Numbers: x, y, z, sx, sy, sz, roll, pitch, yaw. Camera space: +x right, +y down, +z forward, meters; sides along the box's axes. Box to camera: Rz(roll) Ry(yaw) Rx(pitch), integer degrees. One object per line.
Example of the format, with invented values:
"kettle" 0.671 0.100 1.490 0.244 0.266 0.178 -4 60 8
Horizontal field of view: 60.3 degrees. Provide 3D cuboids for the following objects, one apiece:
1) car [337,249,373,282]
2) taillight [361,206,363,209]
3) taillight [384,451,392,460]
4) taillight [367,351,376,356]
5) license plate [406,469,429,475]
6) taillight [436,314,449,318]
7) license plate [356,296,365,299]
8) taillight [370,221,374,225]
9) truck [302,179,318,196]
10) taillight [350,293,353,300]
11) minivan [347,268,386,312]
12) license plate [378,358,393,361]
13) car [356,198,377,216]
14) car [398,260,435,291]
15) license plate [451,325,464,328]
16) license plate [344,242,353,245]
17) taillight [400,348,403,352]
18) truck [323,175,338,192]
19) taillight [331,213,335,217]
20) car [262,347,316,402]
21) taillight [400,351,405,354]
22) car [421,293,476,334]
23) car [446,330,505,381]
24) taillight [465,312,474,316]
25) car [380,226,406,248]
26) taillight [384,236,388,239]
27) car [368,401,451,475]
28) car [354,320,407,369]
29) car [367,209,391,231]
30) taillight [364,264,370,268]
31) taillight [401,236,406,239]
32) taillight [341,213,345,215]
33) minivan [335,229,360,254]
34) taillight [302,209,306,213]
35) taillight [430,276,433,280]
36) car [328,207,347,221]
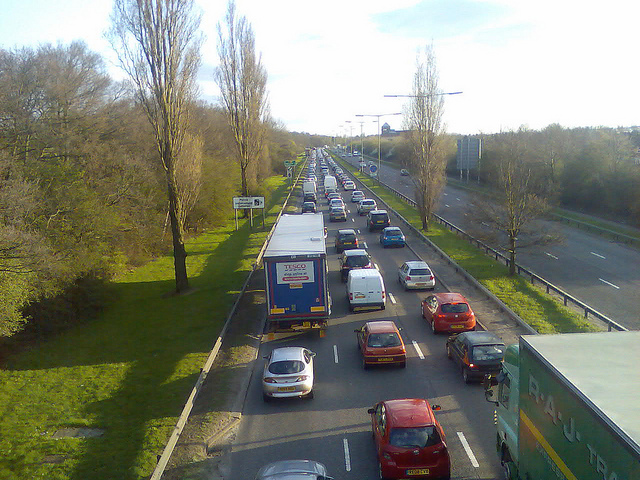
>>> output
"car" 2.370 1.424 36.917 2.205 1.948 3.977 -3 16 2
"taillight" 4.580 -3.547 60.068 0.243 0.300 0.276 3 23 8
"taillight" 2.062 6.574 16.754 0.133 0.200 0.082 3 52 26
"taillight" 2.191 4.770 23.236 0.191 0.074 0.192 -4 7 -31
"license plate" 2.954 6.994 16.618 0.684 0.151 0.049 -2 13 1
"taillight" 5.852 3.629 26.314 0.562 0.155 0.063 3 14 21
"license plate" 2.162 3.046 29.376 0.435 0.100 0.072 -4 14 -4
"taillight" 4.805 -1.609 50.596 0.357 0.246 0.122 7 16 34
"truck" -1.601 -7.700 81.602 1.707 1.794 3.063 0 18 3
"taillight" 1.669 3.029 29.570 0.209 0.424 0.409 0 4 -1
"minivan" 2.748 2.515 31.368 2.065 2.112 4.008 -3 11 5
"license plate" 2.756 5.038 23.223 0.533 0.139 0.076 -2 37 6
"car" 5.115 -3.436 60.765 1.270 1.058 2.215 -1 18 0
"car" 5.812 2.115 33.608 1.218 1.085 2.154 -1 13 1
"license plate" 6.575 4.112 26.253 0.587 0.136 0.022 -1 13 5
"license plate" 2.165 0.258 42.049 0.580 0.143 0.124 -5 14 -8
"taillight" 3.455 4.641 23.295 0.139 0.133 0.054 -8 14 -20
"truck" 1.530 -8.521 84.782 1.846 1.691 3.104 0 18 3
"taillight" 1.344 -2.575 57.030 0.391 0.392 0.141 3 14 22
"car" -1.323 5.216 21.973 1.206 1.109 2.522 -1 9 0
"taillight" 3.490 4.763 23.293 0.208 0.124 0.032 -7 14 -18
"car" 6.190 3.559 27.013 1.316 1.174 2.462 -2 13 0
"car" 6.344 4.722 22.658 1.309 1.145 2.384 -2 16 -1
"taillight" 7.162 3.562 26.331 0.540 0.193 0.092 -11 16 -31
"car" 5.822 -0.231 43.633 1.127 1.010 1.991 -1 12 4
"taillight" 5.236 -0.138 43.601 0.350 0.140 0.085 11 19 43
"car" 2.781 6.138 17.891 1.586 1.357 2.673 -1 7 2
"car" 2.807 4.586 25.171 2.057 1.876 4.072 -1 8 -1
"car" 5.350 -1.890 51.682 1.317 1.215 2.336 -1 15 0
"taillight" 2.985 1.641 34.842 0.327 0.112 0.278 -3 14 0
"taillight" 6.644 -0.152 43.789 0.254 0.071 0.296 -1 16 8
"taillight" 2.362 -2.728 57.210 0.249 0.072 0.240 0 21 -2
"minivan" 2.007 0.058 43.033 1.126 1.148 2.182 -1 15 -1
"taillight" -1.823 -3.228 61.625 0.241 0.343 0.478 -2 1 -4
"taillight" 6.640 2.237 32.728 0.214 0.226 0.054 0 -4 -13
"car" 1.834 -2.692 57.934 1.126 0.927 2.701 0 13 1
